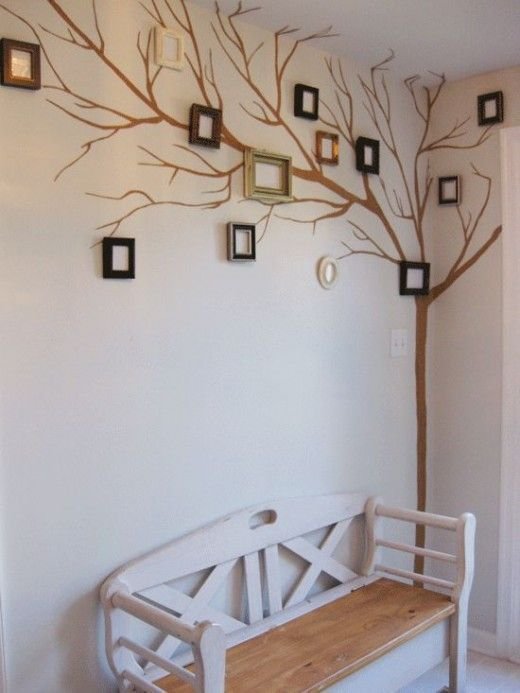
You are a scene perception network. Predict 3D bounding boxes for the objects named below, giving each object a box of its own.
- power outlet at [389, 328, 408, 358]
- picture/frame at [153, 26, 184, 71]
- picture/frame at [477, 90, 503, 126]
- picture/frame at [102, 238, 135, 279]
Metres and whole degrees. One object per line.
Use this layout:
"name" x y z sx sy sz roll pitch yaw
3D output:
"power outlet" 0.509 -0.015 2.218 0.005 0.106 0.101 0 -3 38
"picture/frame" -0.238 -0.755 1.512 0.016 0.128 0.113 5 9 41
"picture/frame" 0.826 -0.856 2.136 0.016 0.157 0.124 -3 6 -34
"picture/frame" -0.346 -0.213 1.426 0.011 0.117 0.095 2 3 41
